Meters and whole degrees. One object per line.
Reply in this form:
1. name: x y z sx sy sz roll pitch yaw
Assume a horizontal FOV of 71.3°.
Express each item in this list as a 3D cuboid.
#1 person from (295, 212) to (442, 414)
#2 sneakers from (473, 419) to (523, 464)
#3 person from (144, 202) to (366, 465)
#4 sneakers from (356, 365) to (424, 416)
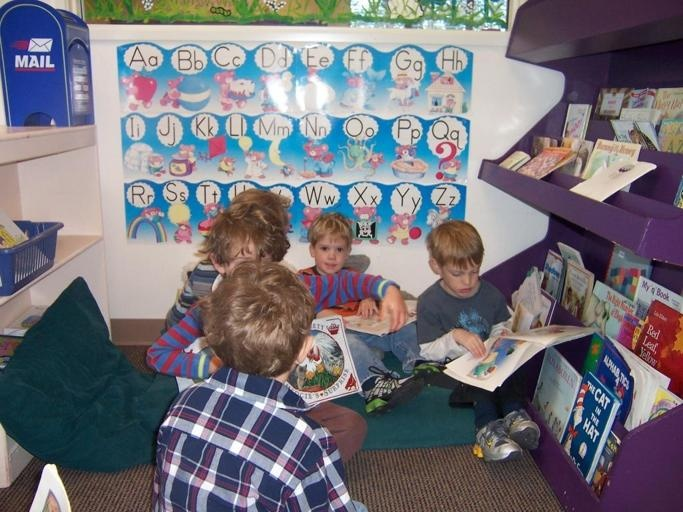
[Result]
1. person: 0.187 0.183 2.075 0.406 0.708 0.835 -10 19 -29
2. sneakers: 0.507 0.611 1.548 0.086 0.089 0.183 0 -15 -14
3. person: -0.312 0.166 1.801 0.609 0.849 1.020 -14 20 -31
4. sneakers: 0.184 0.501 1.845 0.225 0.135 0.205 -3 19 -14
